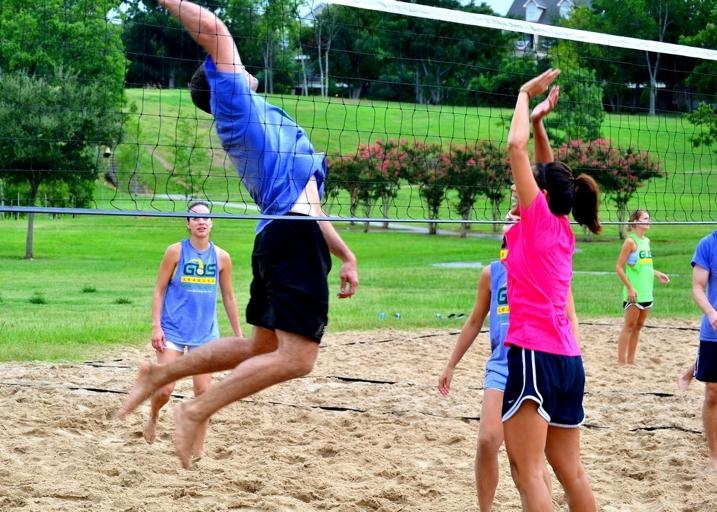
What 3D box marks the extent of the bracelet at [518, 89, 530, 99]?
[{"bbox_3d":[1.512,-1.483,8.717,0.080,0.059,0.078,0,4,1],"label":"bracelet"}]
